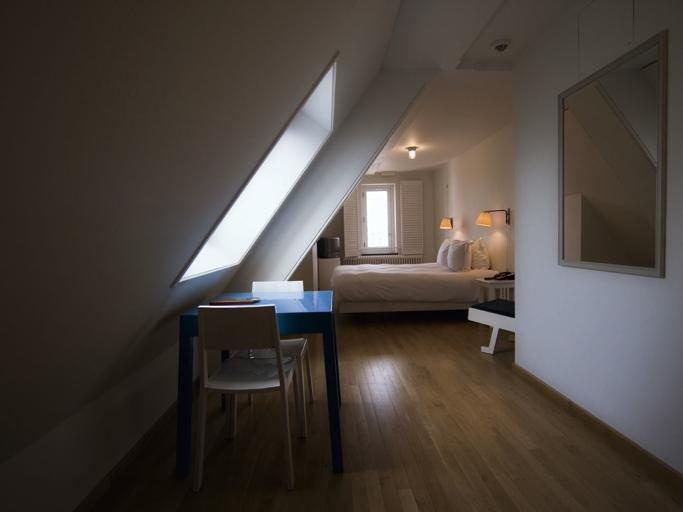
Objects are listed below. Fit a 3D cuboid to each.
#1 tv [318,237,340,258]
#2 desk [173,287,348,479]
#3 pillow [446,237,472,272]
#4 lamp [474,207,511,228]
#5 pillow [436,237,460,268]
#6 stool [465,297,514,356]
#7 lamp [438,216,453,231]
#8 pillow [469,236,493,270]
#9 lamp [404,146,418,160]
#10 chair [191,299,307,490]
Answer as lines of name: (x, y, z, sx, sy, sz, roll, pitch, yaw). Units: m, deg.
tv: (-0.189, -0.130, 7.749, 0.261, 0.417, 0.394, -1, -1, 18)
desk: (-0.434, 0.637, 2.750, 0.811, 0.813, 0.833, -2, 1, -2)
pillow: (1.501, -0.003, 6.146, 0.119, 0.272, 0.430, 4, -2, -4)
lamp: (1.903, -0.496, 6.099, 0.300, 0.207, 0.141, 3, 2, 6)
pillow: (1.511, -0.055, 6.777, 0.141, 0.316, 0.473, 15, 2, 0)
stool: (1.257, 0.523, 4.052, 0.346, 0.295, 0.555, 4, 5, 25)
lamp: (1.791, -0.542, 8.114, 0.192, 0.215, 0.340, 0, 10, 8)
pillow: (1.805, 0.002, 6.383, 0.283, 0.615, 0.579, -1, 3, 6)
lamp: (1.010, -1.491, 6.878, 0.119, 0.138, 0.129, 2, 7, 16)
chair: (-0.492, 0.627, 2.582, 0.620, 0.885, 0.797, -2, 10, -5)
